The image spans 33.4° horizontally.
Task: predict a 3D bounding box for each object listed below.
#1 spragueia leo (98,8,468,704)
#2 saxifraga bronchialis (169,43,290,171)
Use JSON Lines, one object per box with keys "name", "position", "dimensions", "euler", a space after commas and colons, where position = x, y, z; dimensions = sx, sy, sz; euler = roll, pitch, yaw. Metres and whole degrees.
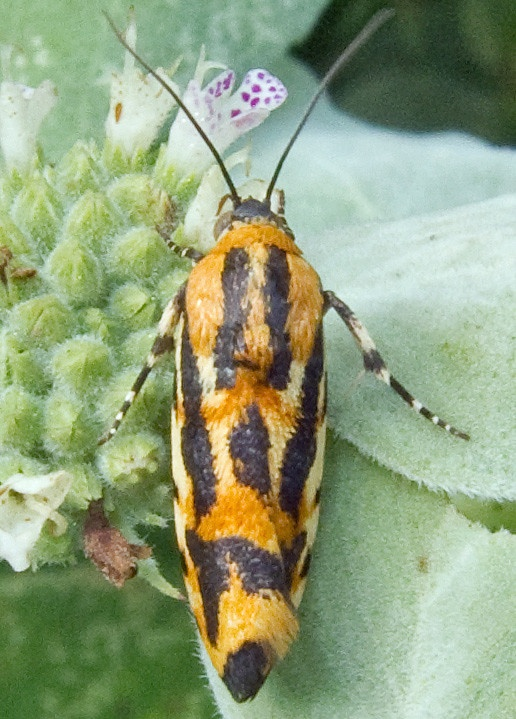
{"name": "spragueia leo", "position": [-0.025, 0.027, 1.358], "dimensions": [0.523, 0.470, 0.768], "euler": [-4, 92, -21]}
{"name": "saxifraga bronchialis", "position": [-0.060, -0.465, 1.583], "dimensions": [0.180, 0.080, 0.255], "euler": [26, 73, -18]}
